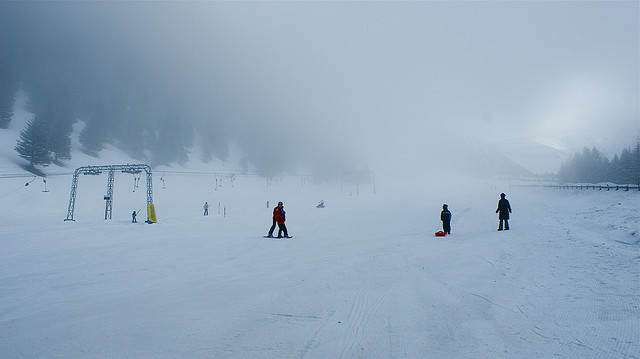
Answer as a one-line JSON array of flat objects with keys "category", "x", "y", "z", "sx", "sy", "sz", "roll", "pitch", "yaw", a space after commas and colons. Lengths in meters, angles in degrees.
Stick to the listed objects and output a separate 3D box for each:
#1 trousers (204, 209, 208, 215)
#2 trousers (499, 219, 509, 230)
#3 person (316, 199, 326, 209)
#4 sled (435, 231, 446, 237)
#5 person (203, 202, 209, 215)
[{"category": "trousers", "x": -14.437, "y": 4.118, "z": 51.264, "sx": 0.411, "sy": 0.630, "sz": 1.158, "roll": 3, "pitch": -5, "yaw": -17}, {"category": "trousers", "x": 15.674, "y": 3.849, "z": 34.463, "sx": 0.945, "sy": 0.837, "sz": 0.241, "roll": 4, "pitch": -2, "yaw": 18}, {"category": "person", "x": 0.231, "y": 3.730, "z": 59.693, "sx": 1.174, "sy": 1.161, "sz": 1.121, "roll": 3, "pitch": -4, "yaw": -3}, {"category": "sled", "x": 10.372, "y": 4.641, "z": 34.617, "sx": 0.815, "sy": 0.394, "sz": 0.676, "roll": -2, "pitch": -6, "yaw": 37}, {"category": "person", "x": -14.328, "y": 3.704, "z": 50.993, "sx": 0.409, "sy": 1.417, "sz": 1.784, "roll": 3, "pitch": -5, "yaw": -17}]
